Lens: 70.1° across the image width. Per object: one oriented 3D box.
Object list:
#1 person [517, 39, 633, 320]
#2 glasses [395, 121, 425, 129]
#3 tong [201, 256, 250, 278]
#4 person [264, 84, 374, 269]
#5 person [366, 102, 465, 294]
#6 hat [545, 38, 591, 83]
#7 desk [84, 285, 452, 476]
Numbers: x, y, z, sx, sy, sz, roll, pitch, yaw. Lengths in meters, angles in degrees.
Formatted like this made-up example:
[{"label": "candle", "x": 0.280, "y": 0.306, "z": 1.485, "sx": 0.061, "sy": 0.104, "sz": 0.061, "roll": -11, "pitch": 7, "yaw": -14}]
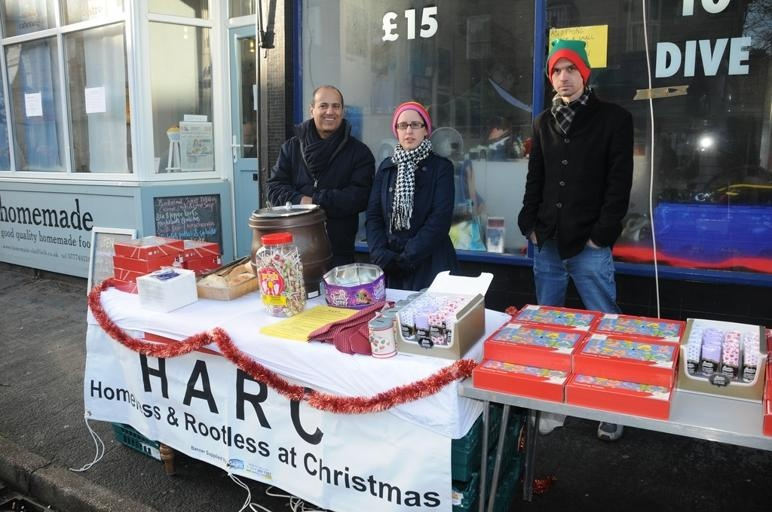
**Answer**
[{"label": "person", "x": 1.345, "y": -0.277, "z": 3.943, "sx": 0.743, "sy": 2.348, "sz": 0.583, "roll": 9, "pitch": 22, "yaw": 40}, {"label": "glasses", "x": 0.178, "y": -0.910, "z": 3.839, "sx": 0.210, "sy": 0.063, "sz": 0.094, "roll": -1, "pitch": 16, "yaw": 5}, {"label": "tong", "x": -1.090, "y": 0.076, "z": 3.731, "sx": 0.196, "sy": 0.048, "sz": 0.046, "roll": -38, "pitch": 23, "yaw": -32}, {"label": "person", "x": -0.501, "y": -0.607, "z": 4.224, "sx": 0.823, "sy": 1.323, "sz": 0.570, "roll": -3, "pitch": 15, "yaw": -2}, {"label": "person", "x": 0.167, "y": -0.410, "z": 3.924, "sx": 0.649, "sy": 1.288, "sz": 0.379, "roll": -2, "pitch": 15, "yaw": 1}, {"label": "hat", "x": 1.219, "y": -1.295, "z": 3.681, "sx": 0.273, "sy": 0.286, "sz": 0.232, "roll": -1, "pitch": 15, "yaw": 7}, {"label": "desk", "x": -0.473, "y": 0.660, "z": 2.968, "sx": 1.711, "sy": 0.869, "sz": 0.954, "roll": 5, "pitch": 11, "yaw": 29}]
